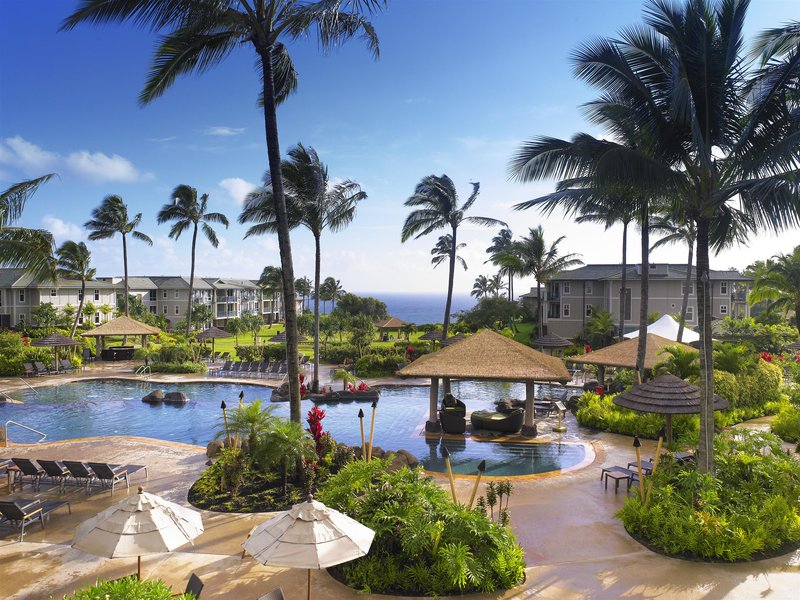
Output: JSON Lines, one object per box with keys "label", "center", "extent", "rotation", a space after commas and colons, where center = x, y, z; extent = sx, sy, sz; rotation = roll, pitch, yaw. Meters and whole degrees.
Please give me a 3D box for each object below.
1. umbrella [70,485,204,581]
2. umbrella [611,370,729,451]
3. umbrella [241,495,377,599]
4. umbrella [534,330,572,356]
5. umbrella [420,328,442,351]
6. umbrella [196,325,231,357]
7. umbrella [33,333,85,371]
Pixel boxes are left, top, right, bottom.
{"label": "umbrella", "center": [-5.788, 5.665, 13.960], "extent": [2.146, 2.178, 2.167], "rotation": [-8, 15, -37]}
{"label": "umbrella", "center": [8.408, 3.646, 20.006], "extent": [2.067, 1.662, 2.020], "rotation": [-6, 7, -43]}
{"label": "umbrella", "center": [-2.129, 5.198, 13.735], "extent": [2.048, 2.036, 2.090], "rotation": [-1, 5, -24]}
{"label": "umbrella", "center": [11.121, 3.098, 44.920], "extent": [1.827, 2.139, 1.978], "rotation": [0, 5, 6]}
{"label": "umbrella", "center": [2.378, 3.214, 46.623], "extent": [1.327, 1.547, 1.432], "rotation": [2, 8, 2]}
{"label": "umbrella", "center": [-16.674, 3.762, 56.086], "extent": [2.196, 2.128, 2.374], "rotation": [0, 1, 14]}
{"label": "umbrella", "center": [-22.195, 3.857, 40.725], "extent": [2.762, 2.798, 2.989], "rotation": [2, 1, 4]}
